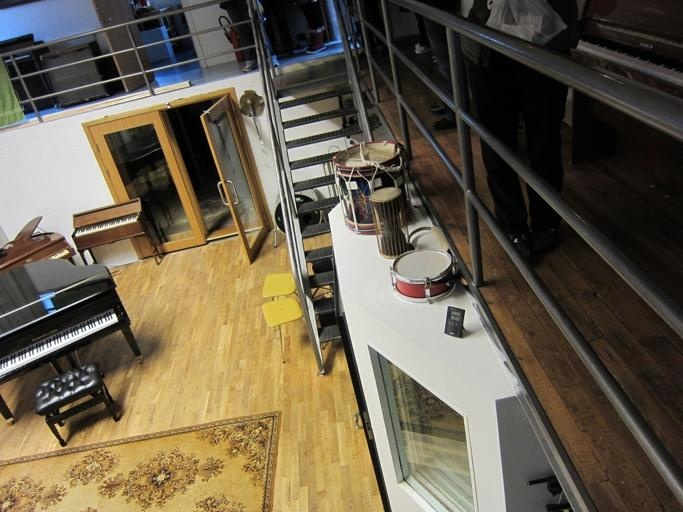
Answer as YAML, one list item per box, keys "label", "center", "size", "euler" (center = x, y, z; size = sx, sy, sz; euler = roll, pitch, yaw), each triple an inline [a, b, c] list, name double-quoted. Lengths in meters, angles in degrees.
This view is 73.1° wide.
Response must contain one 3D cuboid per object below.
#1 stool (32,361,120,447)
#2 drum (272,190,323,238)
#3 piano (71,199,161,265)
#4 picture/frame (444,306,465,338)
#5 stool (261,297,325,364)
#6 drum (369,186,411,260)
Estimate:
- label: "stool"
  center: [-2.738, 1.533, 4.777]
  size: [0.634, 0.510, 0.522]
  euler: [-23, 22, -21]
- label: "drum"
  center: [-0.667, -0.633, 6.797]
  size: [0.719, 0.760, 0.802]
  euler: [17, 1, -1]
- label: "piano"
  center: [-3.559, -0.361, 7.213]
  size: [0.919, 0.927, 0.370]
  euler: [-13, 49, -7]
- label: "picture/frame"
  center: [0.496, 0.291, 2.003]
  size: [0.106, 0.026, 0.160]
  euler: [6, 71, 23]
- label: "stool"
  center: [-0.643, 0.683, 5.272]
  size: [0.432, 0.644, 0.849]
  euler: [-18, 36, -13]
- label: "drum"
  center: [0.261, -0.179, 2.504]
  size: [0.230, 0.404, 0.256]
  euler: [-16, 27, 1]
